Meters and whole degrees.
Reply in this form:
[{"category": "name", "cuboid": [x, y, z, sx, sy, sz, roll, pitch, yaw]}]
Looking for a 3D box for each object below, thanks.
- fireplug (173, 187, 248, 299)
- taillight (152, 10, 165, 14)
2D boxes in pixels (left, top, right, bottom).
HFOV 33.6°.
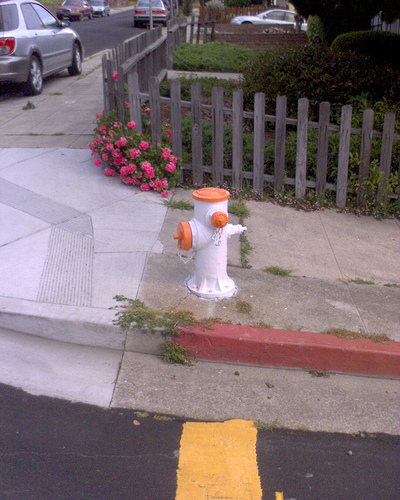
[{"category": "fireplug", "cuboid": [0.076, -0.046, 5.080, 0.517, 0.809, 0.380, 0, 22, 4]}, {"category": "taillight", "cuboid": [-2.086, -12.098, 33.610, 0.684, 0.166, 0.155, 15, 27, 36]}]
